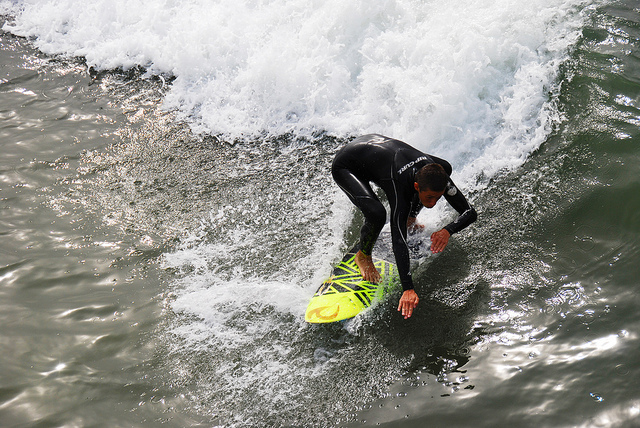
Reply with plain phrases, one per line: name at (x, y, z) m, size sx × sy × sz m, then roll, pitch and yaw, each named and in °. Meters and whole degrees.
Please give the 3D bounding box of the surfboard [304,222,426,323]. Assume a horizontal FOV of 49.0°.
surfboard at (0.732, 0.922, 10.762) m, size 0.898 × 0.540 × 2.711 m, roll 3°, pitch 26°, yaw 38°

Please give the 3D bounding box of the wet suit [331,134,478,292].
wet suit at (0.993, -0.273, 10.127) m, size 1.405 × 0.979 × 2.080 m, roll -26°, pitch 70°, yaw -10°
